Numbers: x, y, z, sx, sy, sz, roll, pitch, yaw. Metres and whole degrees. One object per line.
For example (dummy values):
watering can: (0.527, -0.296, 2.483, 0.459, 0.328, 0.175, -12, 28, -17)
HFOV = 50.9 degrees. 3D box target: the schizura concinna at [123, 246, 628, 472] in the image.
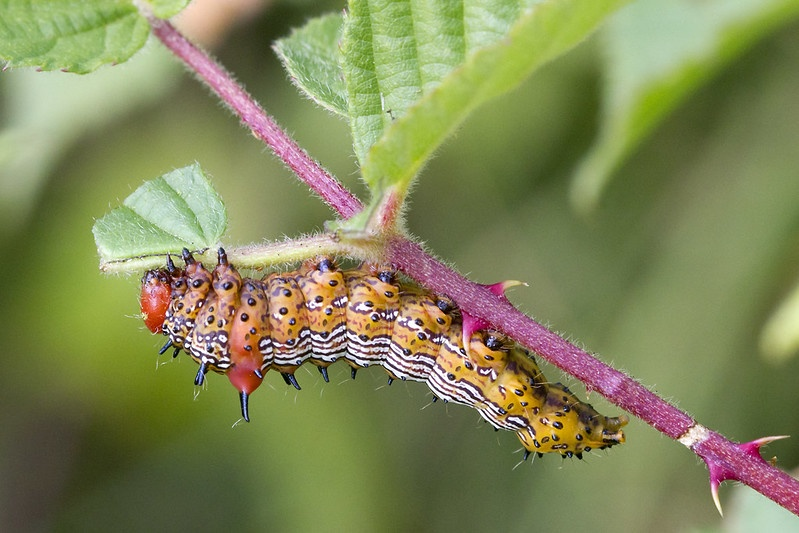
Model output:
schizura concinna: (-0.130, 0.410, 3.949, 2.138, 0.852, 0.311, 3, 9, -5)
